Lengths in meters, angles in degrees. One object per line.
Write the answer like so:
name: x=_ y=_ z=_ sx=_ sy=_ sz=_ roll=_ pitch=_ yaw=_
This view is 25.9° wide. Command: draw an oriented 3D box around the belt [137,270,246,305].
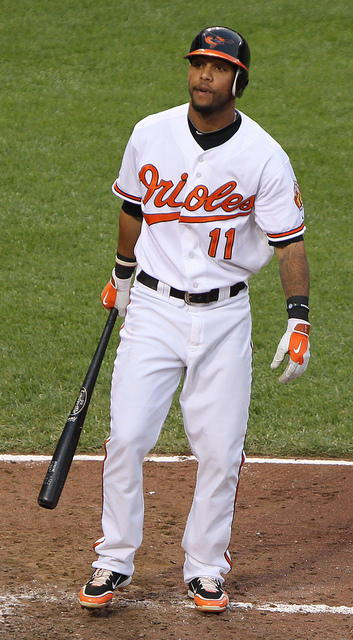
belt: x=0.057 y=-0.122 z=2.946 sx=0.416 sy=0.099 sz=0.172 roll=-2 pitch=32 yaw=2

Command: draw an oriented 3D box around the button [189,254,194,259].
button: x=0.056 y=-0.237 z=2.870 sx=0.017 sy=0.014 sz=0.004 roll=-6 pitch=33 yaw=-5

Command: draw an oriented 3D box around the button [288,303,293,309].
button: x=0.445 y=-0.052 z=2.975 sx=0.012 sy=0.021 sz=0.025 roll=-11 pitch=33 yaw=-11

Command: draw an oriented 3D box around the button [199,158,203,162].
button: x=0.093 y=-0.593 z=2.855 sx=0.014 sy=0.014 sz=0.003 roll=0 pitch=5 yaw=3

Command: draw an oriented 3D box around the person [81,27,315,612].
person: x=0.069 y=0.071 z=2.956 sx=0.872 sy=2.049 sz=1.237 roll=2 pitch=33 yaw=9

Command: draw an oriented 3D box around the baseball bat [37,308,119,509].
baseball bat: x=-0.598 y=0.534 z=4.590 sx=0.127 sy=0.139 sz=1.210 roll=-4 pitch=56 yaw=41

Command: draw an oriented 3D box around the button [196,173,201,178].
button: x=0.085 y=-0.532 z=2.846 sx=0.020 sy=0.019 sz=0.005 roll=0 pitch=-1 yaw=4

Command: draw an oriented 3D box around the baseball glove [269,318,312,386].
baseball glove: x=0.462 y=0.119 z=2.955 sx=0.136 sy=0.101 sz=0.246 roll=-5 pitch=42 yaw=31

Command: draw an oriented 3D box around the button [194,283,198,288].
button: x=0.073 y=-0.127 z=2.856 sx=0.018 sy=0.018 sz=0.004 roll=0 pitch=1 yaw=-12
